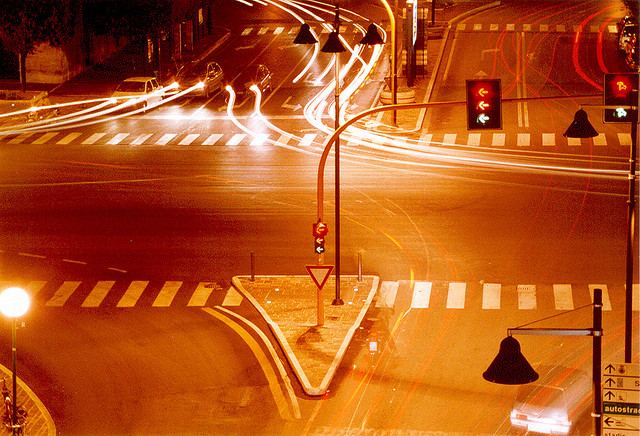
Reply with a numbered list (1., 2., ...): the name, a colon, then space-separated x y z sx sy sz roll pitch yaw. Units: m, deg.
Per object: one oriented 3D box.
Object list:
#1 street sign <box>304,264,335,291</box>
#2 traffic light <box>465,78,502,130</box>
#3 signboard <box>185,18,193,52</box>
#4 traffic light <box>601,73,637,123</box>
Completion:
1. street sign: -0.021 2.064 24.460 1.022 1.033 0.108 -1 6 -4
2. traffic light: 4.660 -3.247 20.460 1.022 1.464 0.506 5 0 6
3. signboard: -12.602 -17.846 69.910 0.790 3.237 0.826 5 0 43
4. traffic light: 7.582 -3.038 18.231 0.828 1.223 0.872 5 0 17
